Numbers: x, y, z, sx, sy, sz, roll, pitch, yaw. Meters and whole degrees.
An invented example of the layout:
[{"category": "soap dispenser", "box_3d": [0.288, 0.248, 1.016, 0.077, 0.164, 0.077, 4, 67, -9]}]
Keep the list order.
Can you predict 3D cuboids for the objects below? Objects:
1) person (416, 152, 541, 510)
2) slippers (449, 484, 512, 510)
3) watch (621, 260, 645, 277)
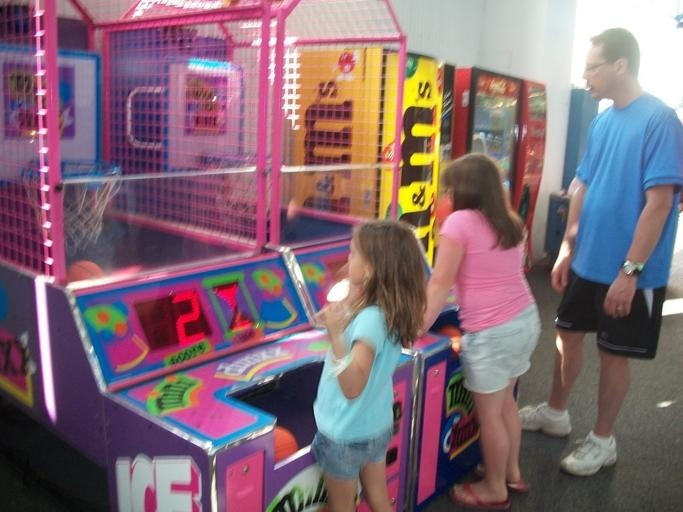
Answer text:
[{"category": "person", "box_3d": [0.595, 0.354, 2.064, 0.593, 1.492, 0.394, 2, 13, -2]}, {"category": "slippers", "box_3d": [0.611, 1.039, 2.156, 0.221, 0.067, 0.111, 11, 13, 18]}, {"category": "watch", "box_3d": [1.268, 0.045, 2.178, 0.068, 0.073, 0.068, 17, 9, 39]}]
